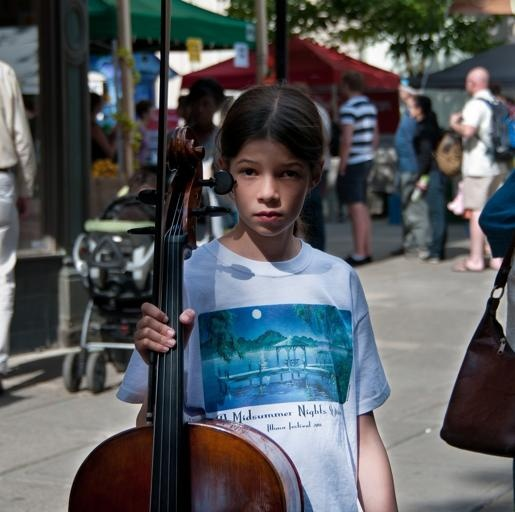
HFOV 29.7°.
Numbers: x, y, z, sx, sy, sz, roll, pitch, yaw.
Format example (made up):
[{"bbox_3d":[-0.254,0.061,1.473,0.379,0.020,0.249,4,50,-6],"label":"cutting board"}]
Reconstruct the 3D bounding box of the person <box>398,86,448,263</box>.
[{"bbox_3d":[1.720,-0.759,9.718,0.404,1.684,0.839,3,9,12],"label":"person"}]

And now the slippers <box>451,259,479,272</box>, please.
[{"bbox_3d":[2.005,0.087,9.289,0.281,0.135,0.106,4,4,28],"label":"slippers"}]
